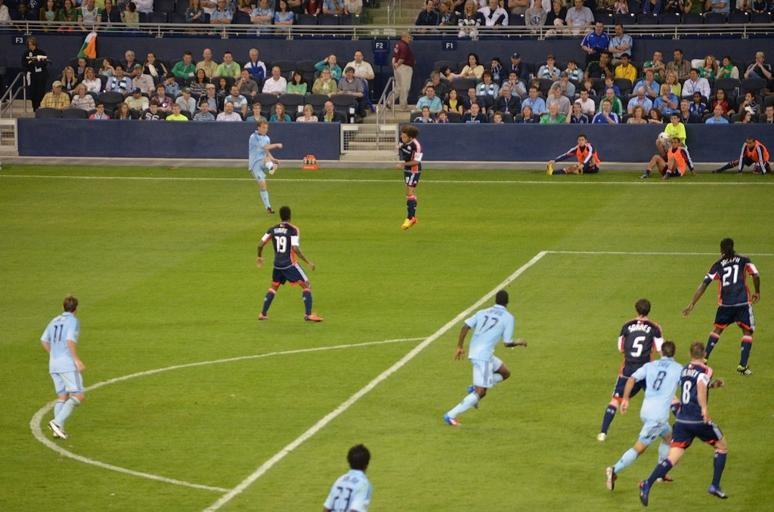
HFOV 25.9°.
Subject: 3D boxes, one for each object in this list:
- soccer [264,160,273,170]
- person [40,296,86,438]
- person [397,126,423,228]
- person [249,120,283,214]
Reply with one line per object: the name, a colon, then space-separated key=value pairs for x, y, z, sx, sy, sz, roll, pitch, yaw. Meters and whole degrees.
soccer: x=-3.864 y=-3.003 z=55.273 sx=0.213 sy=0.278 sz=0.251 roll=2 pitch=45 yaw=-11
person: x=-8.221 y=2.881 z=43.113 sx=1.106 sy=3.696 sz=0.680 roll=11 pitch=11 yaw=38
person: x=0.787 y=-2.596 z=53.990 sx=0.858 sy=3.351 sz=1.157 roll=1 pitch=13 yaw=3
person: x=-4.115 y=-2.970 z=55.717 sx=1.480 sy=3.077 sz=1.172 roll=2 pitch=8 yaw=3
